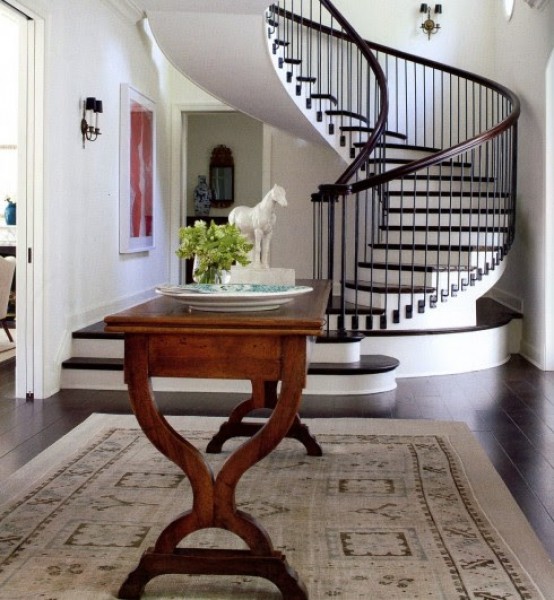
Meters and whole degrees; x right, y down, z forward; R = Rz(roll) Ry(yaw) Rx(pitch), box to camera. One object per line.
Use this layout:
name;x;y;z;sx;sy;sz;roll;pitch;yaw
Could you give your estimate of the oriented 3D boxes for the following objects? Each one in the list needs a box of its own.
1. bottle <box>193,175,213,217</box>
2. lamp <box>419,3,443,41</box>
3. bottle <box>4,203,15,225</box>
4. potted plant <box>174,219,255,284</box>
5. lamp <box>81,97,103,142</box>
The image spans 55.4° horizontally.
bottle;-1.284;-1.826;9.208;0.298;0.756;0.453;0;2;-9
lamp;1.991;-3.632;6.829;0.342;0.653;0.151;0;1;-4
bottle;-4.190;-1.361;8.296;0.155;0.370;0.042;0;2;8
potted plant;-0.213;-0.177;1.875;0.239;0.224;0.264;0;3;2
lamp;-1.581;-1.502;4.531;0.156;0.402;0.484;-1;3;-18
